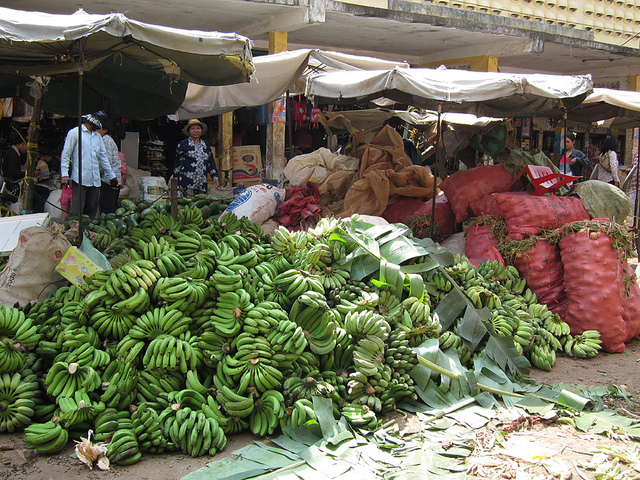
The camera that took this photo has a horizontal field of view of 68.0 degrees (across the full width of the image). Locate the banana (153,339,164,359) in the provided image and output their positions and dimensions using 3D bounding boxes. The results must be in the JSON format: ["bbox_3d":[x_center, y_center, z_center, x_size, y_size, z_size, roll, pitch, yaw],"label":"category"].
[{"bbox_3d":[-1.235,0.832,3.642,0.050,0.146,0.040,29,-18,-13],"label":"banana"}]

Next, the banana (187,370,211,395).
[{"bbox_3d":[-0.934,1.094,3.650,0.168,0.185,0.053,0,-1,-5],"label":"banana"}]

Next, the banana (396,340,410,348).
[{"bbox_3d":[0.706,0.869,4.028,0.126,0.045,0.038,-18,12,-35],"label":"banana"}]

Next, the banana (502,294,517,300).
[{"bbox_3d":[2.070,0.613,5.170,0.175,0.051,0.052,-6,-10,-38],"label":"banana"}]

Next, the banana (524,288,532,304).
[{"bbox_3d":[2.391,0.636,5.435,0.047,0.141,0.110,1,19,29],"label":"banana"}]

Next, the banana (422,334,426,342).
[{"bbox_3d":[0.954,0.889,4.330,0.040,0.052,0.014,13,-11,-32],"label":"banana"}]

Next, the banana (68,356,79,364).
[{"bbox_3d":[-1.830,0.888,3.526,0.070,0.048,0.040,1,-1,-29],"label":"banana"}]

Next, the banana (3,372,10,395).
[{"bbox_3d":[-2.326,1.062,3.520,0.040,0.145,0.051,1,-1,-34],"label":"banana"}]

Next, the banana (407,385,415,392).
[{"bbox_3d":[0.776,1.257,4.021,0.031,0.056,0.083,-1,-2,36],"label":"banana"}]

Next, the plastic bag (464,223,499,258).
[{"bbox_3d":[2.015,-0.009,6.074,0.279,0.450,0.556,1,-1,-21],"label":"plastic bag"}]

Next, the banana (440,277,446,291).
[{"bbox_3d":[1.247,0.444,4.802,0.062,0.127,0.035,0,-1,-3],"label":"banana"}]

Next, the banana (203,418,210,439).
[{"bbox_3d":[-0.825,1.370,3.444,0.032,0.113,0.039,9,-29,-7],"label":"banana"}]

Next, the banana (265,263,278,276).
[{"bbox_3d":[-0.419,0.259,4.293,0.153,0.040,0.027,38,-52,-16],"label":"banana"}]

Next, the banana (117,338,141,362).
[{"bbox_3d":[-1.470,0.805,3.624,0.059,0.255,0.085,27,-25,14],"label":"banana"}]

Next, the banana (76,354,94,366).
[{"bbox_3d":[-1.758,0.895,3.562,0.125,0.033,0.044,-32,34,-24],"label":"banana"}]

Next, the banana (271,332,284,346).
[{"bbox_3d":[-0.343,0.767,3.710,0.041,0.150,0.051,29,-18,17],"label":"banana"}]

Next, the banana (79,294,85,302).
[{"bbox_3d":[-1.947,0.472,3.877,0.033,0.053,0.015,16,-21,-23],"label":"banana"}]

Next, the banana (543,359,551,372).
[{"bbox_3d":[2.301,1.269,4.811,0.029,0.092,0.081,-23,-10,-18],"label":"banana"}]

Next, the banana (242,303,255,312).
[{"bbox_3d":[-0.570,0.544,3.830,0.057,0.068,0.018,23,-41,4],"label":"banana"}]

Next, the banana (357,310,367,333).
[{"bbox_3d":[0.352,0.674,3.946,0.050,0.182,0.062,5,-16,12],"label":"banana"}]

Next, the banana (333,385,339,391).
[{"bbox_3d":[0.133,1.201,3.845,0.025,0.033,0.033,-9,18,4],"label":"banana"}]

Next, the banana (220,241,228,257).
[{"bbox_3d":[-0.855,0.073,4.234,0.040,0.089,0.115,-8,-1,10],"label":"banana"}]

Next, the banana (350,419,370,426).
[{"bbox_3d":[0.322,1.410,3.682,0.082,0.029,0.082,2,-34,-1],"label":"banana"}]

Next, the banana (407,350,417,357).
[{"bbox_3d":[0.803,0.970,4.076,0.069,0.045,0.022,9,0,-36],"label":"banana"}]

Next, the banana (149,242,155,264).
[{"bbox_3d":[-1.391,0.097,3.929,0.038,0.184,0.062,-18,-18,13],"label":"banana"}]

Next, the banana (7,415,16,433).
[{"bbox_3d":[-2.287,1.363,3.530,0.035,0.133,0.036,-23,3,27],"label":"banana"}]

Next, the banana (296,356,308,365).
[{"bbox_3d":[-0.148,0.974,3.854,0.128,0.035,0.025,46,-17,-25],"label":"banana"}]

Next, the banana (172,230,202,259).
[{"bbox_3d":[-1.180,0.045,4.262,0.244,0.237,0.123,19,-28,7],"label":"banana"}]

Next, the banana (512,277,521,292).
[{"bbox_3d":[2.275,0.518,5.499,0.041,0.178,0.046,46,-10,-32],"label":"banana"}]

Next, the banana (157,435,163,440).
[{"bbox_3d":[-1.156,1.431,3.438,0.041,0.015,0.022,0,-2,21],"label":"banana"}]

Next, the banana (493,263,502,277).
[{"bbox_3d":[2.003,0.336,5.346,0.036,0.137,0.054,34,-16,-11],"label":"banana"}]

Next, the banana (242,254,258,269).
[{"bbox_3d":[-0.626,0.189,4.282,0.036,0.106,0.082,46,15,29],"label":"banana"}]

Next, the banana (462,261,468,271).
[{"bbox_3d":[1.559,0.262,5.073,0.044,0.053,0.143,6,17,21],"label":"banana"}]

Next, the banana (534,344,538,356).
[{"bbox_3d":[2.241,1.135,4.912,0.032,0.096,0.076,0,-1,19],"label":"banana"}]

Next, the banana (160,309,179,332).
[{"bbox_3d":[-1.174,0.631,3.698,0.033,0.189,0.051,28,-25,16],"label":"banana"}]

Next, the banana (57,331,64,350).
[{"bbox_3d":[-2.016,0.774,3.702,0.050,0.144,0.039,10,2,-27],"label":"banana"}]

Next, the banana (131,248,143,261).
[{"bbox_3d":[-1.538,0.118,4.000,0.040,0.149,0.040,-40,8,17],"label":"banana"}]

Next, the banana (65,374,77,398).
[{"bbox_3d":[-1.834,1.090,3.538,0.038,0.138,0.054,22,-25,-13],"label":"banana"}]

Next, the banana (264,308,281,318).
[{"bbox_3d":[-0.377,0.588,3.804,0.123,0.033,0.043,23,11,-8],"label":"banana"}]

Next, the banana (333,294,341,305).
[{"bbox_3d":[0.159,0.520,4.177,0.078,0.088,0.060,1,-1,-18],"label":"banana"}]

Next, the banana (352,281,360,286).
[{"bbox_3d":[0.331,0.393,4.345,0.058,0.040,0.025,0,-1,-2],"label":"banana"}]

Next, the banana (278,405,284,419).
[{"bbox_3d":[-0.293,1.304,3.605,0.027,0.097,0.033,10,-15,-27],"label":"banana"}]

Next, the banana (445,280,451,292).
[{"bbox_3d":[1.295,0.459,4.794,0.053,0.121,0.034,-1,-1,41],"label":"banana"}]

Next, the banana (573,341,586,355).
[{"bbox_3d":[2.775,1.166,5.118,0.066,0.175,0.048,-40,-13,-26],"label":"banana"}]

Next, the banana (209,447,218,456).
[{"bbox_3d":[-0.769,1.526,3.422,0.024,0.031,0.080,20,-4,4],"label":"banana"}]

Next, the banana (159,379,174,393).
[{"bbox_3d":[-1.170,1.109,3.622,0.152,0.041,0.040,45,4,-13],"label":"banana"}]

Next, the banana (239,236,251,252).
[{"bbox_3d":[-0.690,0.024,4.404,0.050,0.125,0.030,-28,-8,-25],"label":"banana"}]

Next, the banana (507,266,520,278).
[{"bbox_3d":[2.254,0.367,5.561,0.143,0.111,0.034,49,-35,-19],"label":"banana"}]

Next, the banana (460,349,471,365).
[{"bbox_3d":[1.381,1.102,4.480,0.117,0.139,0.032,1,-1,-31],"label":"banana"}]

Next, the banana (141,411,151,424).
[{"bbox_3d":[-1.266,1.285,3.452,0.032,0.116,0.040,32,-19,-1],"label":"banana"}]
